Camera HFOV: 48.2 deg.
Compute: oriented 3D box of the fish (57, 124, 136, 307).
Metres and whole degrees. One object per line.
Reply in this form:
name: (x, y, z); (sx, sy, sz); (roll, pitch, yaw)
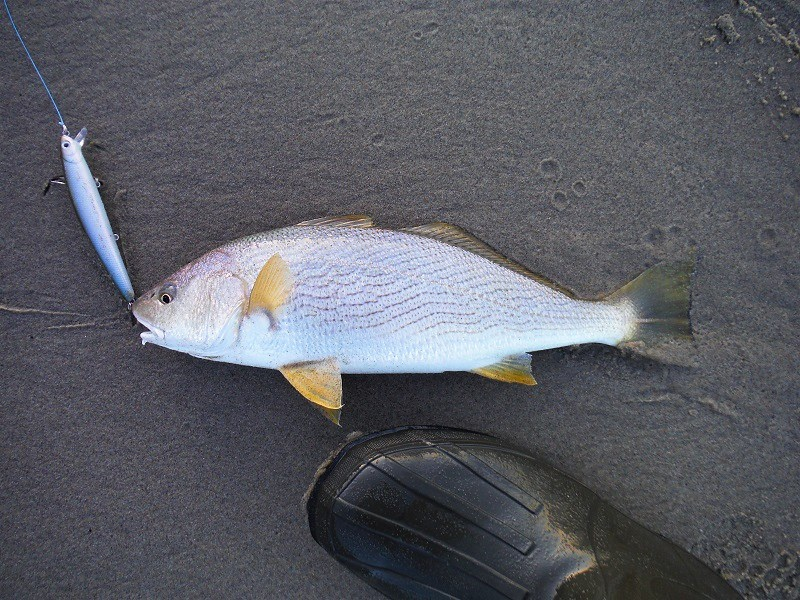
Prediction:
fish: (-1.821, -0.525, 5.496); (0.269, 0.155, 1.236); (-21, 101, 5)
